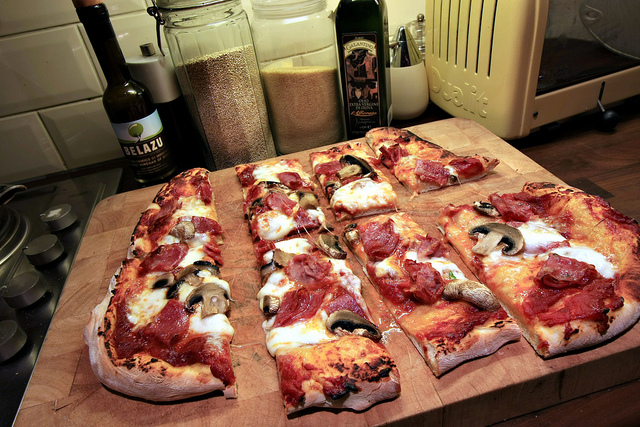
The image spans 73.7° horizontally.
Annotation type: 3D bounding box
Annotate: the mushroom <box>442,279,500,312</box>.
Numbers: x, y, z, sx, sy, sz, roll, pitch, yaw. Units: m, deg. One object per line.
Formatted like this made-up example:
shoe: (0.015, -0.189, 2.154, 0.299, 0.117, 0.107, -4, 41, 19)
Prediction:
mushroom: (0.526, 0.280, 1.480, 0.181, 0.074, 0.103, 20, 11, 25)

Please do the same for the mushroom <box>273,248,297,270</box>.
mushroom: (-0.146, 0.179, 1.676, 0.074, 0.024, 0.064, -26, 59, -26)

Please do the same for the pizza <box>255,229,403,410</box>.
pizza: (-0.018, 0.371, 1.563, 0.382, 0.124, 0.737, -14, 33, -9)

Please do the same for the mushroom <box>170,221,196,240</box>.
mushroom: (-0.567, 0.066, 1.767, 0.077, 0.025, 0.079, 3, 56, -9)

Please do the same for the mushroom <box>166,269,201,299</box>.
mushroom: (-0.531, 0.275, 1.616, 0.027, 0.026, 0.099, 17, 39, 35)

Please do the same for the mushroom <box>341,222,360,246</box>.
mushroom: (0.130, 0.082, 1.768, 0.065, 0.032, 0.088, -22, 34, 5)

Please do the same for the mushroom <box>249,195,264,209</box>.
mushroom: (-0.283, -0.042, 1.897, 0.054, 0.015, 0.054, -46, 31, -4)

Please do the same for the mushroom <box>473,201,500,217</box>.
mushroom: (0.681, -0.017, 1.749, 0.050, 0.023, 0.076, 10, 17, -14)

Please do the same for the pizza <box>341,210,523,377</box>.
pizza: (0.374, 0.253, 1.556, 0.332, 0.133, 0.643, -22, 49, -14)

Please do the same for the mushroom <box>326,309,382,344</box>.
mushroom: (0.112, 0.389, 1.470, 0.167, 0.052, 0.094, 21, 62, 12)

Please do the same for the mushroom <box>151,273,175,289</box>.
mushroom: (-0.601, 0.262, 1.641, 0.066, 0.024, 0.050, -30, 50, -32)

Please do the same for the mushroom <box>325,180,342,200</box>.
mushroom: (0.067, -0.102, 1.996, 0.077, 0.026, 0.080, 8, 76, 56)

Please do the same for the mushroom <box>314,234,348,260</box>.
mushroom: (0.044, 0.132, 1.740, 0.114, 0.040, 0.156, 4, 29, -32)

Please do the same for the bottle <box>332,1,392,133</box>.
bottle: (0.223, -0.736, 2.190, 0.245, 0.632, 0.226, -5, 40, 5)

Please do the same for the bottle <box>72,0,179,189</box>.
bottle: (-0.928, -0.549, 2.034, 0.208, 0.817, 0.271, -23, 42, -15)

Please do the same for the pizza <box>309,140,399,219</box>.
pizza: (0.150, -0.190, 2.060, 0.324, 0.090, 0.562, -10, 41, -4)

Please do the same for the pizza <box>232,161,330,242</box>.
pizza: (-0.162, -0.100, 1.992, 0.388, 0.102, 0.595, -23, 37, -5)
